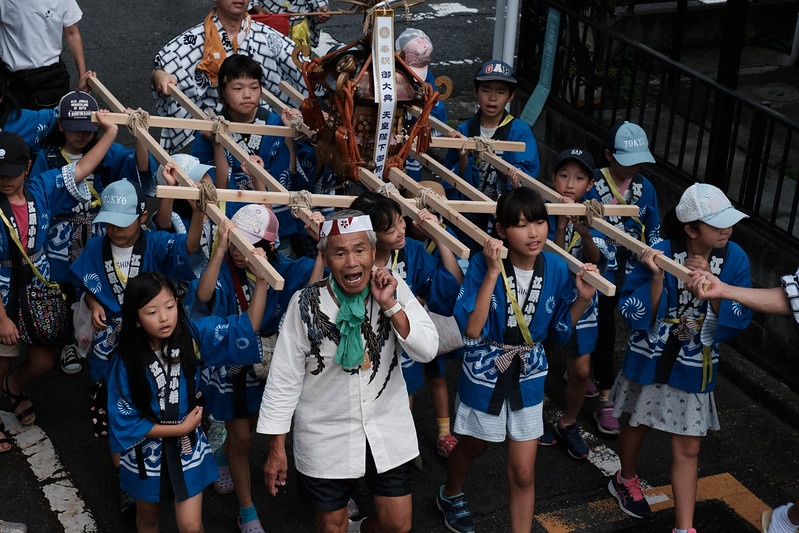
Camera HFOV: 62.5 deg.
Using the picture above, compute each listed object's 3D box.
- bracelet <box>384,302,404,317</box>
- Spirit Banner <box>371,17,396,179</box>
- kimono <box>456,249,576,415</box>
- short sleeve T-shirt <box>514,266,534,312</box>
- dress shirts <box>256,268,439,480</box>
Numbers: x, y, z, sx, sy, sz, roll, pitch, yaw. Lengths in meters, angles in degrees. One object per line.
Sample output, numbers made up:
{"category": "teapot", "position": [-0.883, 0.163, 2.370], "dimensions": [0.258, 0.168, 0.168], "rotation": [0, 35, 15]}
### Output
{"category": "bracelet", "position": [-0.039, 0.250, 3.782], "dimensions": [0.097, 0.062, 0.094], "rotation": [-22, -4, -22]}
{"category": "Spirit Banner", "position": [-0.112, -1.266, 4.759], "dimensions": [0.159, 1.147, 0.086], "rotation": [-12, 38, -21]}
{"category": "kimono", "position": [0.799, 0.517, 4.796], "dimensions": [0.624, 1.338, 0.784], "rotation": [-1, -4, -1]}
{"category": "short sleeve T-shirt", "position": [0.847, 0.142, 4.555], "dimensions": [0.136, 0.255, 0.132], "rotation": [3, 27, 9]}
{"category": "dress shirts", "position": [-0.316, 0.665, 4.101], "dimensions": [1.133, 1.193, 0.632], "rotation": [-2, 8, -6]}
